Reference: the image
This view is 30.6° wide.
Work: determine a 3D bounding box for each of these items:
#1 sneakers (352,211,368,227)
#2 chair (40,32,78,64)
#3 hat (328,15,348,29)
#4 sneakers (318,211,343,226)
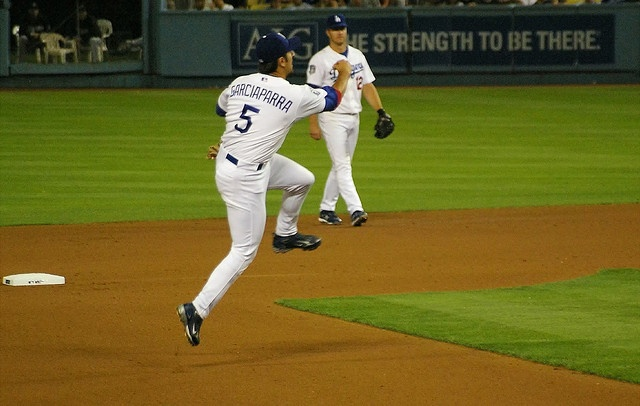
[{"bbox_3d":[0.597,0.253,17.701,0.136,0.149,0.326,-6,-12,-20],"label":"sneakers"},{"bbox_3d":[-6.856,-4.092,31.034,0.762,0.763,0.717,10,30,14],"label":"chair"},{"bbox_3d":[0.261,-2.693,17.498,0.261,0.223,0.266,0,7,-1],"label":"hat"},{"bbox_3d":[0.158,0.235,17.964,0.406,0.175,0.158,2,6,35],"label":"sneakers"}]
